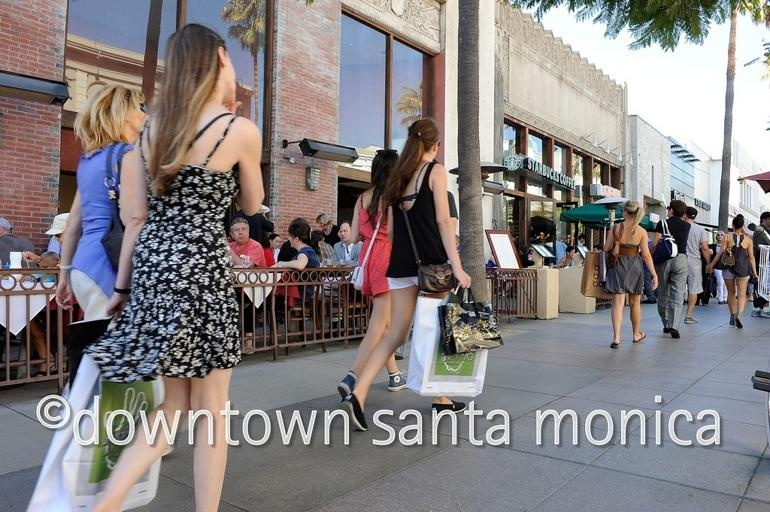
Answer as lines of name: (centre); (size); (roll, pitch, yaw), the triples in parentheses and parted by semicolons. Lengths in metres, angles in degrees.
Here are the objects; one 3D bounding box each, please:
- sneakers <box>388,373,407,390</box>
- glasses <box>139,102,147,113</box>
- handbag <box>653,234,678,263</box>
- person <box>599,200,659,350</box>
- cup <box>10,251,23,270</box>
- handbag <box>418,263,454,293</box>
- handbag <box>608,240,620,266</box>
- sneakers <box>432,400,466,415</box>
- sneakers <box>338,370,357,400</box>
sneakers: (0.123, 1.325, 6.004); (0.102, 0.123, 0.265); (1, 2, 26)
glasses: (-1.806, -1.115, 4.196); (0.062, 0.085, 0.028); (-2, -6, -21)
handbag: (4.845, -0.129, 9.796); (0.198, 0.436, 0.446); (-8, -2, -18)
person: (3.682, 0.248, 8.583); (1.203, 2.190, 0.590); (-2, 4, -39)
cup: (-4.217, 0.050, 6.456); (0.153, 0.231, 0.137); (0, -8, -27)
handbag: (0.423, 0.198, 5.024); (0.395, 0.285, 0.212); (-1, -6, -22)
handbag: (3.469, -0.063, 8.566); (0.131, 0.400, 0.149); (-17, 39, -3)
sneakers: (0.591, 1.396, 5.220); (0.277, 0.105, 0.136); (-4, -1, -12)
sneakers: (-0.353, 1.198, 5.185); (0.110, 0.213, 0.309); (27, -27, 20)
